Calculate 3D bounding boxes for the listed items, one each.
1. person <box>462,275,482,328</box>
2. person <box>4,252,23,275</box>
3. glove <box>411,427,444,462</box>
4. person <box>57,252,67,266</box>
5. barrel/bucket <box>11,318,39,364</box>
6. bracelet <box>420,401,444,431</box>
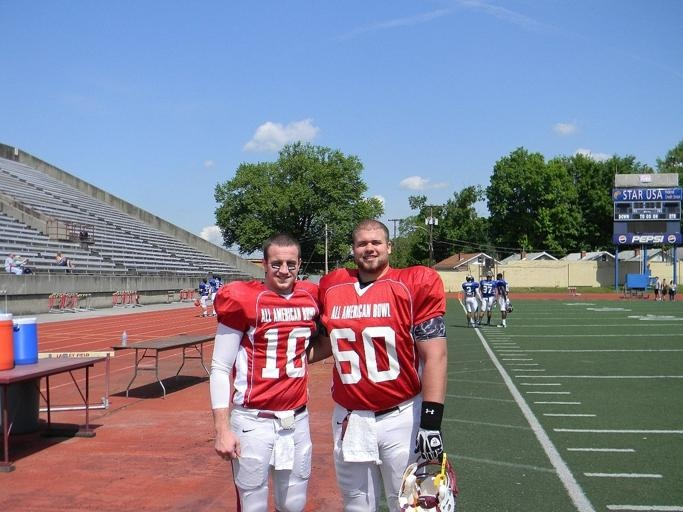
[{"bbox_3d":[4.614,1.704,23.318,0.824,1.992,0.466,-9,11,-35],"label":"person"},{"bbox_3d":[-11.810,0.297,23.890,0.456,0.781,0.709,-4,-2,-5],"label":"person"},{"bbox_3d":[0.683,1.376,4.810,0.224,0.224,0.101,-1,5,33],"label":"glove"},{"bbox_3d":[-11.878,0.139,28.150,0.444,0.636,0.789,-3,-2,-23],"label":"person"},{"bbox_3d":[-3.583,0.969,7.503,0.248,0.543,0.284,-3,-2,-28],"label":"barrel/bucket"},{"bbox_3d":[0.651,1.161,4.784,0.172,0.174,0.120,-4,-2,12],"label":"bracelet"}]
